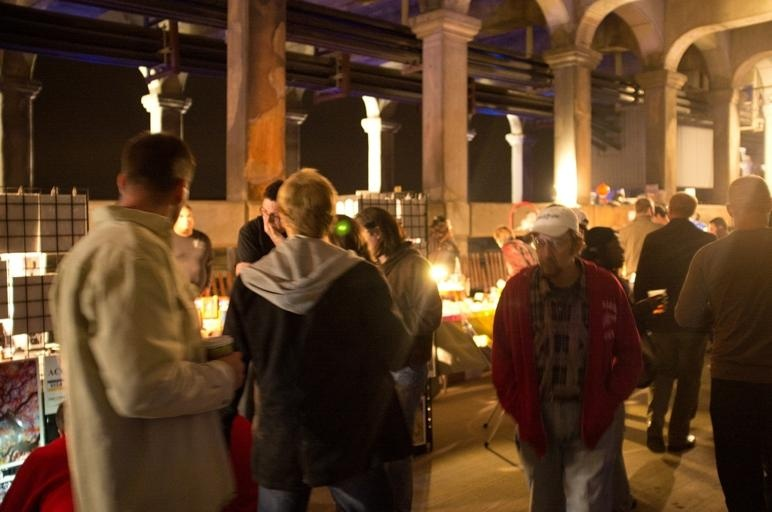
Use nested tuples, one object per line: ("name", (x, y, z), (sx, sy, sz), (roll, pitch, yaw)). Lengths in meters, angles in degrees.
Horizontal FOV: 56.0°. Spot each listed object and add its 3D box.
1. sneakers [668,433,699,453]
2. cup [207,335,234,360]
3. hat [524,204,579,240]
("sneakers", (2.869, 1.831, 7.053), (0.324, 0.144, 0.121), (-10, 7, -36))
("cup", (-0.929, 0.511, 4.062), (0.116, 0.072, 0.120), (-1, -4, 0))
("hat", (1.163, -0.233, 4.946), (0.205, 0.153, 0.280), (3, 1, 39))
